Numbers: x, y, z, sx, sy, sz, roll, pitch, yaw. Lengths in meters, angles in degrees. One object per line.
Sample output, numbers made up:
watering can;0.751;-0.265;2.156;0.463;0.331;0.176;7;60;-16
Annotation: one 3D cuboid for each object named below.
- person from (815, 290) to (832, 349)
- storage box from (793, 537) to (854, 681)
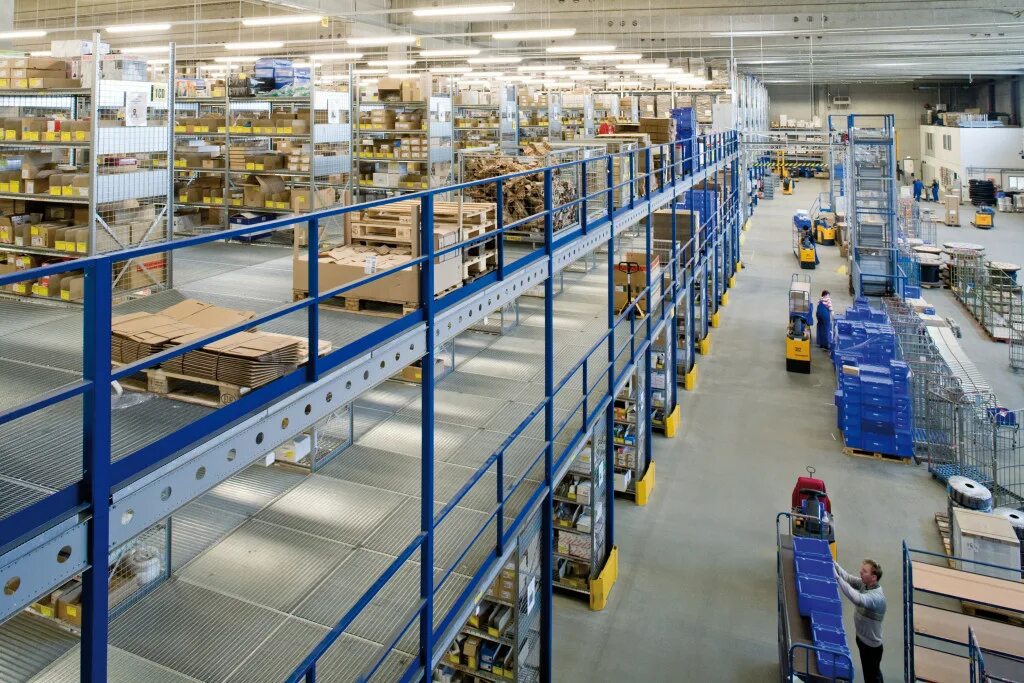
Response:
person;7.322;-0.465;18.801;0.330;1.279;1.069;5;20;17
storage box;3.627;3.137;9.486;0.474;0.223;1.810;3;37;2
